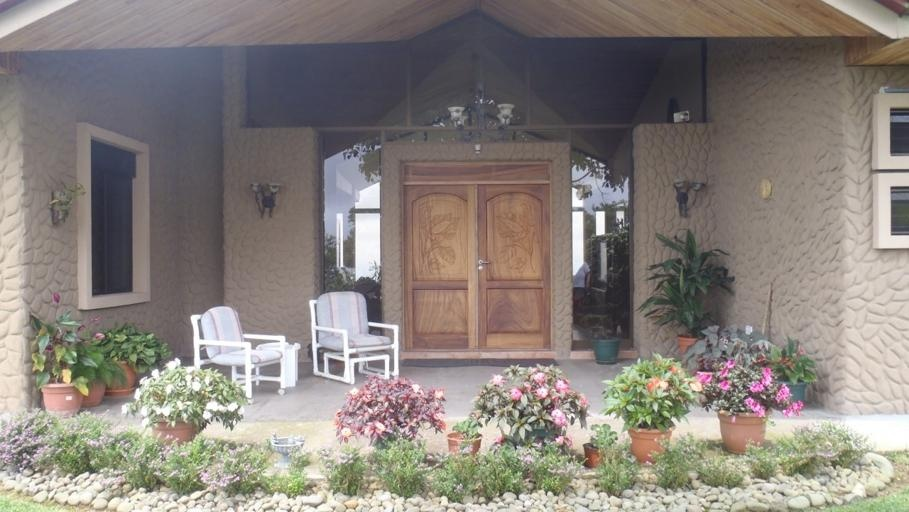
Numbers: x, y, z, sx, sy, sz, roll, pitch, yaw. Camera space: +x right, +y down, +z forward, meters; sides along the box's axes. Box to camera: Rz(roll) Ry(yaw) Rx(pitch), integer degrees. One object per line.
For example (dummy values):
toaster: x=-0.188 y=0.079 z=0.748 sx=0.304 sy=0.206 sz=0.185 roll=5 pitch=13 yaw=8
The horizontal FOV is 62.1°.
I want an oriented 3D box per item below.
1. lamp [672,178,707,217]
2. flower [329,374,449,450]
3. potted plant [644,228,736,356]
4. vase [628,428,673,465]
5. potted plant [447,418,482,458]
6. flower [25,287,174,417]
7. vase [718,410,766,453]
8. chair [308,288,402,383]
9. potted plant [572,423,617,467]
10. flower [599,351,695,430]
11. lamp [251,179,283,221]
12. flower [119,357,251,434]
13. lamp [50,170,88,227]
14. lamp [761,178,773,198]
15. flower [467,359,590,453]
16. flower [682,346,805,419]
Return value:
lamp: x=3.503 y=-0.879 z=11.388 sx=0.557 sy=0.532 sz=0.172 roll=6 pitch=0 yaw=30
flower: x=-0.698 y=1.603 z=7.747 sx=0.846 sy=0.506 sz=0.838 roll=0 pitch=3 yaw=-3
potted plant: x=3.418 y=0.448 z=11.071 sx=1.314 sy=1.769 sz=1.009 roll=-2 pitch=-5 yaw=12
vase: x=2.020 y=1.924 z=7.703 sx=0.385 sy=0.266 sz=0.384 roll=1 pitch=-9 yaw=1
potted plant: x=0.115 y=1.875 z=7.795 sx=0.336 sy=0.306 sz=0.358 roll=0 pitch=-4 yaw=-4
flower: x=-4.504 y=1.218 z=9.385 sx=1.278 sy=1.115 sz=1.689 roll=8 pitch=5 yaw=38
vase: x=3.178 y=1.920 z=8.245 sx=0.539 sy=0.396 sz=0.525 roll=9 pitch=-11 yaw=-35
chair: x=-1.269 y=1.115 z=11.039 sx=1.244 sy=1.525 sz=1.353 roll=1 pitch=-1 yaw=-45
potted plant: x=1.478 y=1.963 z=7.939 sx=0.457 sy=0.470 sz=0.420 roll=3 pitch=-11 yaw=0
flower: x=2.095 y=1.351 z=8.114 sx=0.833 sy=0.587 sz=0.814 roll=0 pitch=10 yaw=9
lamp: x=-2.884 y=-0.863 z=11.596 sx=0.449 sy=0.523 sz=0.213 roll=0 pitch=-5 yaw=-9
flower: x=-2.809 y=1.478 z=7.933 sx=0.982 sy=0.657 sz=0.922 roll=1 pitch=5 yaw=-12
lamp: x=-4.870 y=-0.664 z=9.479 sx=0.111 sy=0.582 sz=0.439 roll=-3 pitch=-5 yaw=25
lamp: x=4.215 y=-0.900 z=10.149 sx=0.048 sy=0.203 sz=0.162 roll=-2 pitch=-2 yaw=-39
flower: x=0.790 y=1.494 z=7.950 sx=0.955 sy=0.638 sz=0.920 roll=0 pitch=12 yaw=-2
flower: x=3.082 y=1.535 z=8.138 sx=0.931 sy=0.628 sz=0.789 roll=1 pitch=12 yaw=-8
